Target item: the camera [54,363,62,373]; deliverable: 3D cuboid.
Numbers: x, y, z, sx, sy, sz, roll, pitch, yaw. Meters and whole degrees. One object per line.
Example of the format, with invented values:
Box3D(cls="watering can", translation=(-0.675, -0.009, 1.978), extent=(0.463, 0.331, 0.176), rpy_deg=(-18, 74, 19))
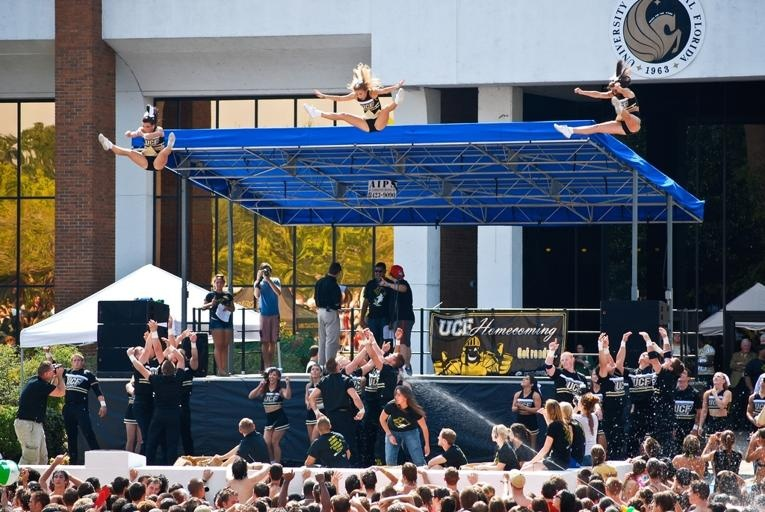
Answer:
Box3D(cls="camera", translation=(-8.809, 2.985, 55.692), extent=(0.251, 0.218, 0.346), rpy_deg=(4, -9, -9))
